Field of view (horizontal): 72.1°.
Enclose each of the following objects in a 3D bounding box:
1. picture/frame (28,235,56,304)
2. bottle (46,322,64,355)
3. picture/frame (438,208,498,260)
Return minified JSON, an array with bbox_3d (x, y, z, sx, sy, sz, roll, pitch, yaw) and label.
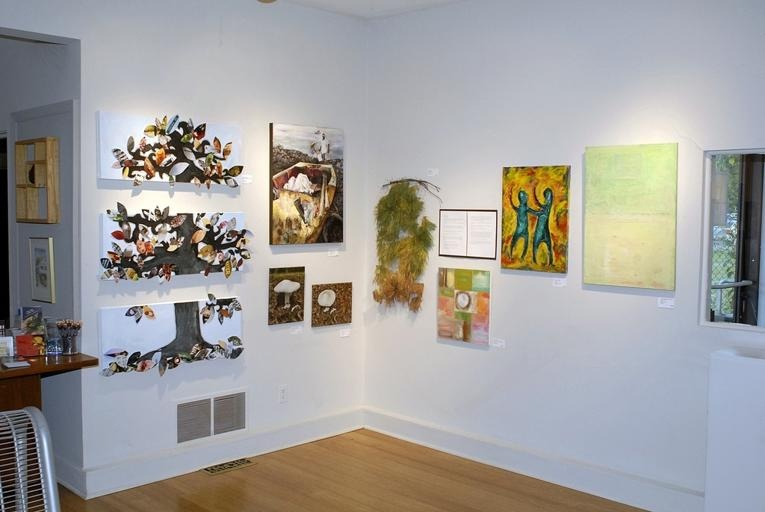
[{"bbox_3d":[-2.594,0.089,4.025,0.044,0.606,0.511,-2,4,-44],"label":"picture/frame"},{"bbox_3d":[-2.351,0.600,3.764,0.096,0.163,0.097,-3,-10,-1],"label":"bottle"},{"bbox_3d":[0.752,-0.192,4.476,0.432,0.324,0.015,3,5,38],"label":"picture/frame"}]
